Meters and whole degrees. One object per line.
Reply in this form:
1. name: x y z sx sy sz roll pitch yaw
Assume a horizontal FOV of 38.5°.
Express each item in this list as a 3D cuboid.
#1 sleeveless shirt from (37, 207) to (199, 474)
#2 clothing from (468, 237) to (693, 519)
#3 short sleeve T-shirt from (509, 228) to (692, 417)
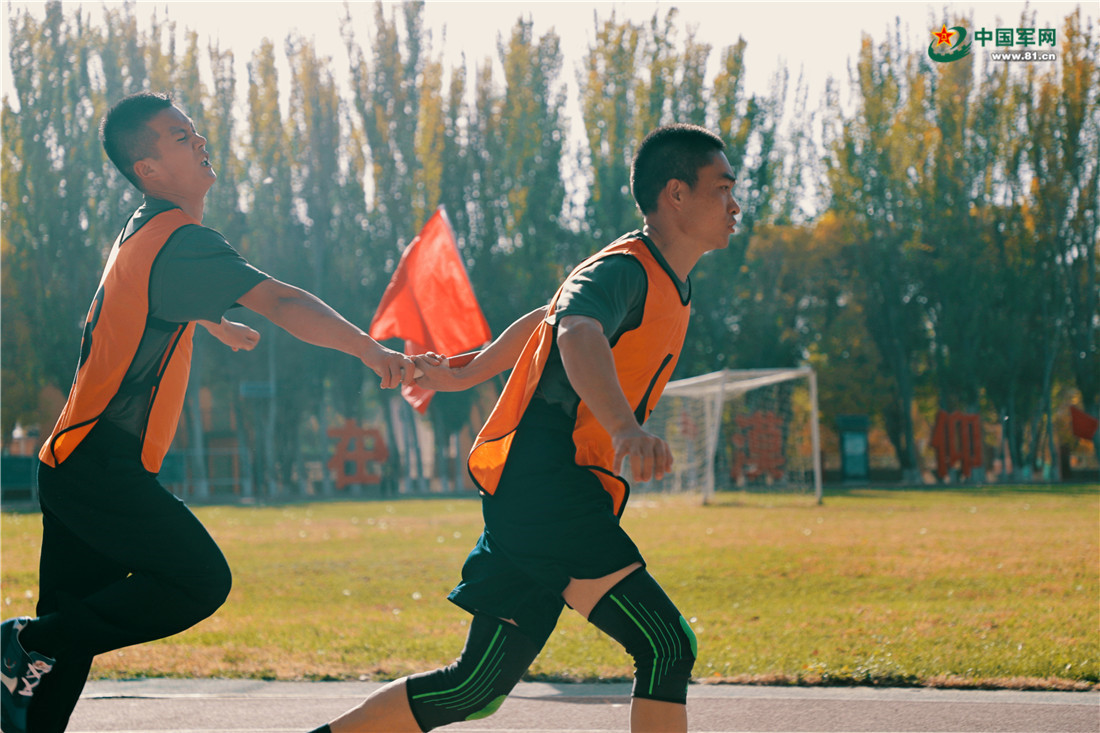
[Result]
1. sleeveless shirt: -2.600 -0.140 9.706 0.677 1.717 0.819 17 -6 -33
2. clothing: 0.254 0.161 9.612 0.975 1.783 1.167 19 5 7
3. short sleeve T-shirt: 0.270 -0.254 9.461 0.904 1.250 0.702 11 -5 -5
